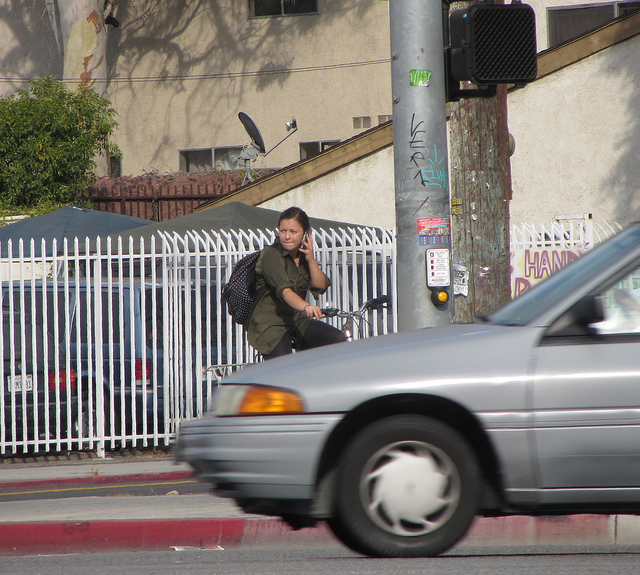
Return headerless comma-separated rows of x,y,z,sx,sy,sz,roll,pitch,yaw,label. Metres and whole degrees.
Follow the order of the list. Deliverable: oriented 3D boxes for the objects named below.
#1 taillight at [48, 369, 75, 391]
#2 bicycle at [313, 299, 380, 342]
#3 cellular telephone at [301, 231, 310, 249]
-2.993,1.043,20.702,0.210,0.228,0.294,0,-3,-17,taillight
0.315,0.272,19.739,0.625,0.412,0.388,-27,-16,38,bicycle
-0.143,-0.495,18.043,0.130,0.145,0.098,-1,4,10,cellular telephone
